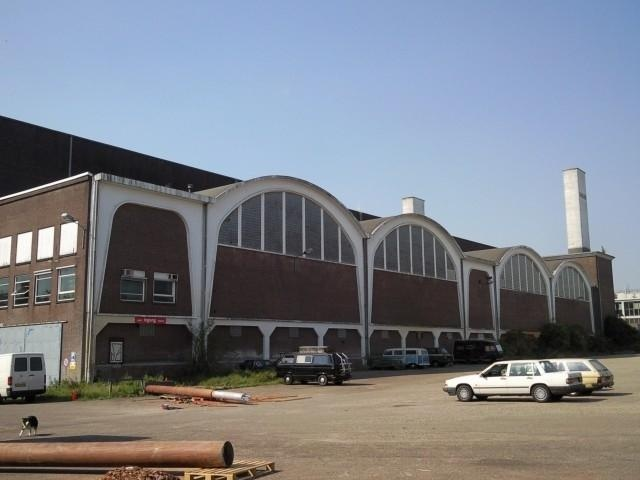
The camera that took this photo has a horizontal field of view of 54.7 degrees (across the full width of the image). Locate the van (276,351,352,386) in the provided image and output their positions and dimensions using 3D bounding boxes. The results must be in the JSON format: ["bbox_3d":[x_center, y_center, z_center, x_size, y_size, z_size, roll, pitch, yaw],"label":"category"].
[{"bbox_3d":[-0.303,8.084,38.546,3.921,1.692,2.049,-1,-10,22],"label":"van"}]

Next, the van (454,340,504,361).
[{"bbox_3d":[14.717,10.331,57.450,3.720,1.892,2.264,-5,-6,37],"label":"van"}]

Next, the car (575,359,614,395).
[{"bbox_3d":[12.032,6.186,27.922,2.425,1.053,1.471,-2,-7,21],"label":"car"}]
